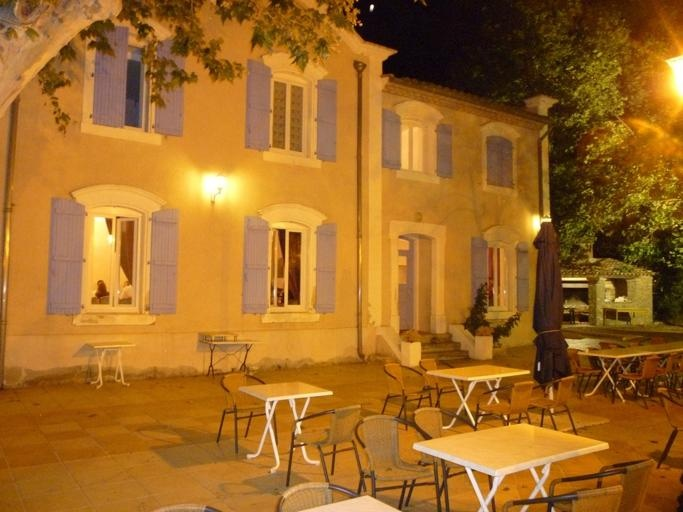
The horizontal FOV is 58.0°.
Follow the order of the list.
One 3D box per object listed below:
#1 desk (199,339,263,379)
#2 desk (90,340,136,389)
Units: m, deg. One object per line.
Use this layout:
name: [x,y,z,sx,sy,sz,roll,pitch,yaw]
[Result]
desk: [-2.260,2.093,12.709,1.288,0.858,0.691,3,-2,-32]
desk: [-4.251,1.998,11.425,0.785,0.794,0.787,4,-7,-29]
